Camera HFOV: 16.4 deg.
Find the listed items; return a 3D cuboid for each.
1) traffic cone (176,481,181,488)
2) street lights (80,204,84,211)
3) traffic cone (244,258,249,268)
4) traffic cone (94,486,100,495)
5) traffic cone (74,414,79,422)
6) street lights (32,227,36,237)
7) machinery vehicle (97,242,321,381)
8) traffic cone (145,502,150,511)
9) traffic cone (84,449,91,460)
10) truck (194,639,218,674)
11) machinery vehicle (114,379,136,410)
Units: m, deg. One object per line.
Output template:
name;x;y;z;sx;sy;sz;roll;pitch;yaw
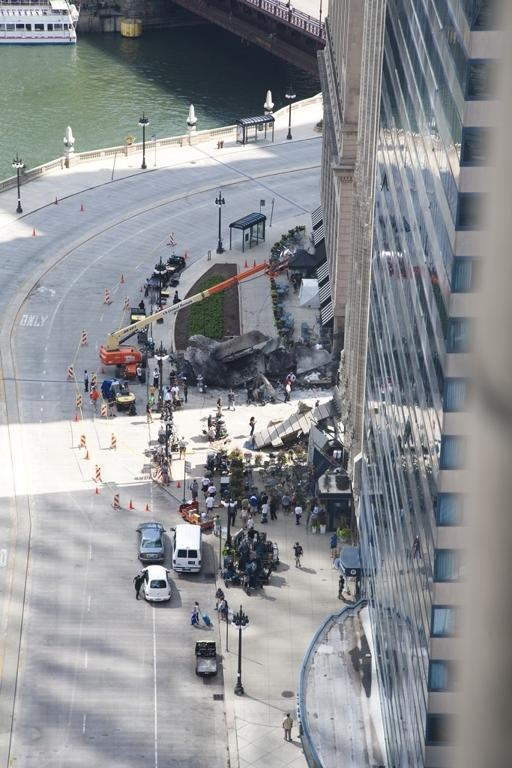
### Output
traffic cone;-3.538;4.763;81.057;0.166;0.240;0.171;14;19;33
street lights;-12.305;-12.340;125.166;0.316;0.474;0.361;10;21;30
traffic cone;-0.626;-7.566;113.897;0.321;0.679;0.425;2;42;3
traffic cone;-7.155;4.933;79.844;0.192;0.370;0.226;-1;8;12
traffic cone;-8.951;1.862;88.346;0.188;0.287;0.318;-6;-12;-7
street lights;-14.889;-10.044;118.453;0.260;0.655;0.321;-9;32;-11
machinery vehicle;-5.454;-1.686;100.469;13.524;7.626;7.230;-30;26;-28
traffic cone;-4.798;5.633;78.432;0.163;0.316;0.192;2;5;8
traffic cone;-7.971;3.503;83.673;0.251;0.474;0.281;5;9;18
truck;-1.820;10.339;65.375;0.844;0.677;1.830;2;18;-2
machinery vehicle;-6.656;0.878;89.783;0.703;1.165;1.696;-6;19;-17
